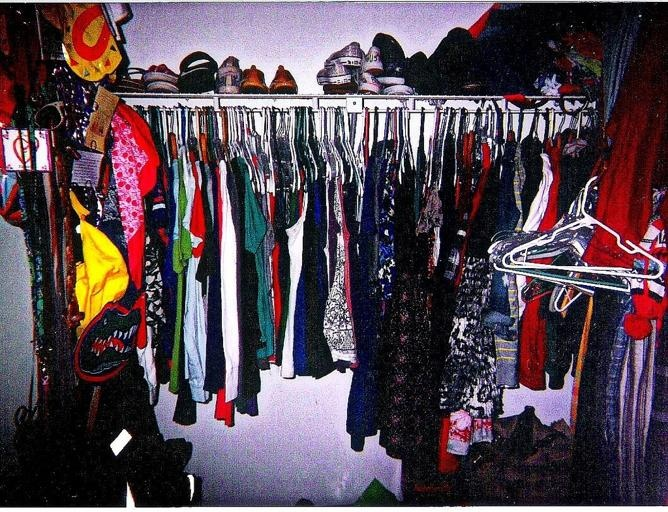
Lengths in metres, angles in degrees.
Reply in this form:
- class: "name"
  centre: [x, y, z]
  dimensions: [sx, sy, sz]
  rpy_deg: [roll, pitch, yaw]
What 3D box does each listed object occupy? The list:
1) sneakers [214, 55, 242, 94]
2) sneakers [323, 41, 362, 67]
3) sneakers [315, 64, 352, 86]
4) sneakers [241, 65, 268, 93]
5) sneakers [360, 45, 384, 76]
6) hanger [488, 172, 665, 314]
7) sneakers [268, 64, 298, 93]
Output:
- class: "sneakers"
  centre: [-0.435, -0.732, 2.621]
  dimensions: [0.096, 0.159, 0.054]
  rpy_deg: [-1, -1, -1]
- class: "sneakers"
  centre: [0.040, -0.834, 2.645]
  dimensions: [0.068, 0.067, 0.167]
  rpy_deg: [-1, 10, -30]
- class: "sneakers"
  centre: [-0.004, -0.751, 2.634]
  dimensions: [0.146, 0.091, 0.036]
  rpy_deg: [3, 8, 9]
- class: "sneakers"
  centre: [-0.329, -0.727, 2.622]
  dimensions: [0.117, 0.121, 0.072]
  rpy_deg: [1, 8, -6]
- class: "sneakers"
  centre: [0.152, -0.800, 2.622]
  dimensions: [0.076, 0.091, 0.210]
  rpy_deg: [-1, 15, 0]
- class: "hanger"
  centre: [0.969, 0.018, 2.481]
  dimensions: [0.526, 0.666, 0.243]
  rpy_deg: [7, -3, -8]
- class: "sneakers"
  centre: [-0.212, -0.714, 2.616]
  dimensions: [0.077, 0.045, 0.127]
  rpy_deg: [-8, 52, -11]
